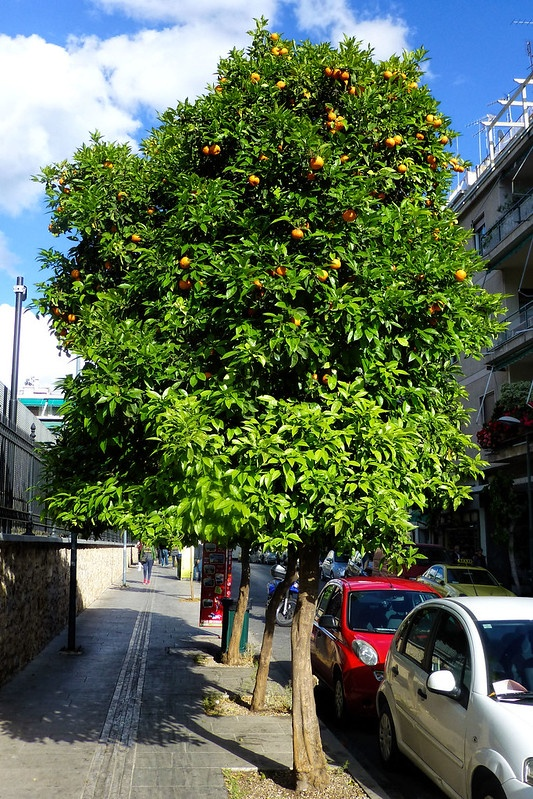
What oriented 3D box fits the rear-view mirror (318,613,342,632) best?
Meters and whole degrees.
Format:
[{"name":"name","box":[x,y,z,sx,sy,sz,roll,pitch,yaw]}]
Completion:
[{"name":"rear-view mirror","box":[0.743,2.655,7.306,0.239,0.128,0.322,0,-9,-1]}]

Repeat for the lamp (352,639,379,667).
[{"name":"lamp","box":[1.083,2.846,6.842,0.195,0.192,0.354,9,-8,-42]}]

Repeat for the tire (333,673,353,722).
[{"name":"tire","box":[0.851,3.460,7.006,0.095,0.462,0.463,6,-5,-16]}]

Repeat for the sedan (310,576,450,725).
[{"name":"sedan","box":[1.320,3.127,7.933,1.438,1.280,2.459,3,-19,-9]}]

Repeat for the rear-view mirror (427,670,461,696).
[{"name":"rear-view mirror","box":[1.057,1.720,3.669,0.183,0.172,0.219,2,-6,16]}]
